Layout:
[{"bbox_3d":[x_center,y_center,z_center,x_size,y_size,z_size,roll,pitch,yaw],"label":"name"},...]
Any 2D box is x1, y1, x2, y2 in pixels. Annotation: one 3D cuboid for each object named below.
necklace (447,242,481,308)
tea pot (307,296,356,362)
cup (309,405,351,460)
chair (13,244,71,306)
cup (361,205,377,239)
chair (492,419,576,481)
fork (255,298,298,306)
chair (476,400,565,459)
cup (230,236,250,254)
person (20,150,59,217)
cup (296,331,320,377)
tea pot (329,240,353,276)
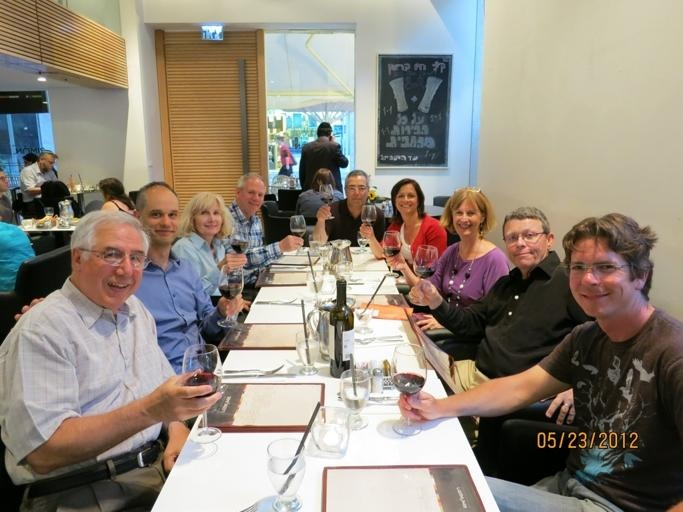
[{"bbox_3d":[0.800,0.149,3.189,0.116,0.277,0.199,7,-2,-44],"label":"necklace"},{"bbox_3d":[-0.090,0.304,2.103,0.264,0.278,0.158,-2,12,-9],"label":"tea pot"},{"bbox_3d":[-0.038,0.571,1.632,0.126,0.119,0.170,-2,1,0],"label":"cup"},{"bbox_3d":[-1.757,0.112,2.846,0.202,0.370,0.267,22,21,19],"label":"chair"},{"bbox_3d":[0.210,-0.272,3.847,0.103,0.283,0.198,0,14,2],"label":"cup"},{"bbox_3d":[0.758,0.764,1.987,0.247,0.273,0.241,0,4,-35],"label":"chair"},{"bbox_3d":[-0.352,0.261,2.742,0.253,0.024,0.080,-1,35,4],"label":"fork"},{"bbox_3d":[0.774,0.739,2.148,0.283,0.283,0.276,1,-1,-7],"label":"chair"},{"bbox_3d":[-0.632,-0.071,3.061,0.095,0.169,0.103,0,12,0],"label":"cup"},{"bbox_3d":[-4.240,-1.011,6.922,0.482,0.932,0.758,-11,18,-35],"label":"person"},{"bbox_3d":[-0.132,0.422,2.051,0.121,0.204,0.128,0,3,0],"label":"cup"},{"bbox_3d":[0.001,0.013,3.151,0.163,0.261,0.209,0,-4,2],"label":"tea pot"}]
